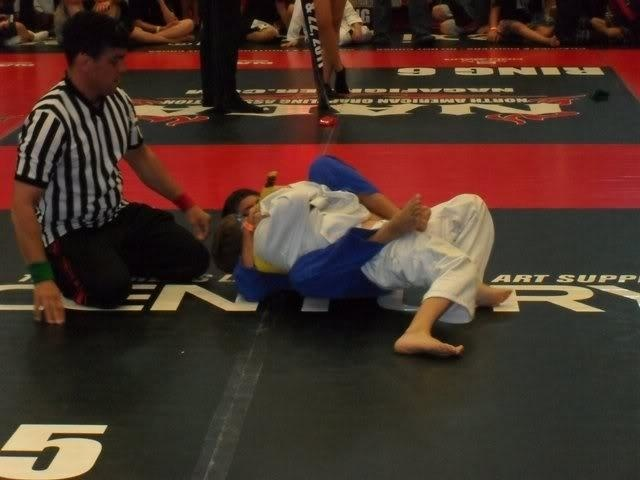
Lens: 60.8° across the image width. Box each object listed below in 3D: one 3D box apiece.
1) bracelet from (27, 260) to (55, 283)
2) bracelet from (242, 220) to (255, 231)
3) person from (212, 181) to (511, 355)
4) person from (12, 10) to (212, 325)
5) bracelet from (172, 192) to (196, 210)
[{"bbox_3d":[-1.172,0.131,2.283,0.096,0.073,0.092,-5,9,-9],"label":"bracelet"},{"bbox_3d":[-0.320,-0.063,2.397,0.039,0.019,0.050,17,-19,19],"label":"bracelet"},{"bbox_3d":[0.167,0.048,2.347,1.057,0.425,0.682,3,22,11],"label":"person"},{"bbox_3d":[-0.991,-0.364,2.523,0.895,1.280,0.453,-18,25,-41],"label":"person"},{"bbox_3d":[-0.729,-0.204,2.943,0.094,0.094,0.086,-29,17,22],"label":"bracelet"}]
